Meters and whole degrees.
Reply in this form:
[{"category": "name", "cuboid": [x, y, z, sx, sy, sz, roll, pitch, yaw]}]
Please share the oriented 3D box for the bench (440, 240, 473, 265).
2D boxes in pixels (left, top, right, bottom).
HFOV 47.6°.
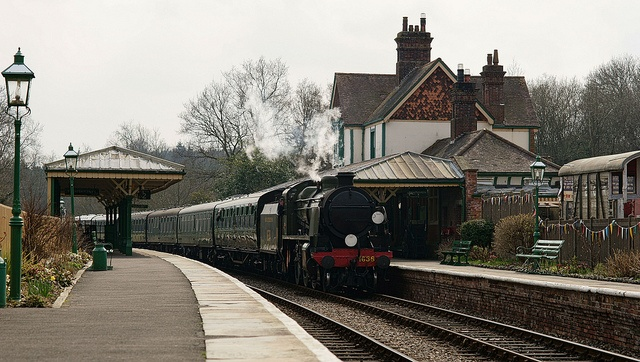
[{"category": "bench", "cuboid": [6.132, 3.459, 33.266, 0.791, 0.787, 1.289, 9, 1, 15]}]
